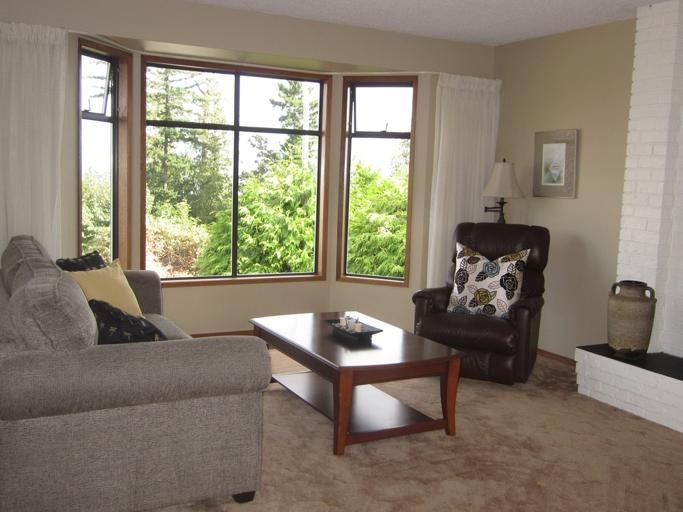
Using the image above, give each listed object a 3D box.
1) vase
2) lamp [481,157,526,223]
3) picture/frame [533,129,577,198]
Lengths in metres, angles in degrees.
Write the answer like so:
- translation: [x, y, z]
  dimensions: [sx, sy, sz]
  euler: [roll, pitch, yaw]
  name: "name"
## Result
- translation: [2.378, 0.519, 4.537]
  dimensions: [0.350, 0.565, 0.345]
  euler: [4, 7, 25]
  name: "vase"
- translation: [1.709, -0.682, 5.832]
  dimensions: [0.401, 0.678, 0.633]
  euler: [5, 12, 14]
  name: "lamp"
- translation: [2.164, -0.934, 5.543]
  dimensions: [0.066, 0.862, 0.642]
  euler: [-4, 10, -29]
  name: "picture/frame"
